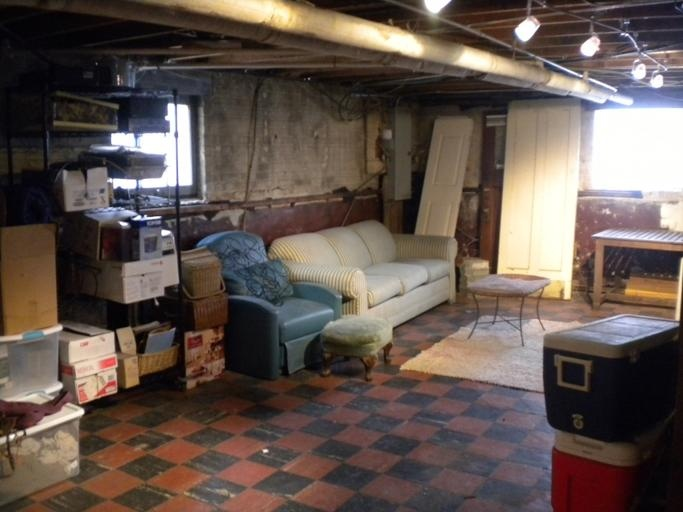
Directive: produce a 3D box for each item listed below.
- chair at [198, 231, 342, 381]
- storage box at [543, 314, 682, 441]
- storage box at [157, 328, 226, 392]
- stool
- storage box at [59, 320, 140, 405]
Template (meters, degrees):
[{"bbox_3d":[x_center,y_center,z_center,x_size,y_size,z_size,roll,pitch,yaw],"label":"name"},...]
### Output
[{"bbox_3d":[-0.848,0.461,5.749,1.218,1.334,1.038,10,17,38],"label":"chair"},{"bbox_3d":[1.463,0.672,3.006,1.021,0.553,0.593,-8,9,-42],"label":"storage box"},{"bbox_3d":[-1.451,0.987,5.118,0.351,0.517,0.622,5,9,34],"label":"storage box"},{"bbox_3d":[0.164,0.914,5.513,0.646,0.421,0.671,3,7,23],"label":"stool"},{"bbox_3d":[-2.109,0.884,4.473,0.410,0.537,0.374,-12,17,-38],"label":"storage box"}]
